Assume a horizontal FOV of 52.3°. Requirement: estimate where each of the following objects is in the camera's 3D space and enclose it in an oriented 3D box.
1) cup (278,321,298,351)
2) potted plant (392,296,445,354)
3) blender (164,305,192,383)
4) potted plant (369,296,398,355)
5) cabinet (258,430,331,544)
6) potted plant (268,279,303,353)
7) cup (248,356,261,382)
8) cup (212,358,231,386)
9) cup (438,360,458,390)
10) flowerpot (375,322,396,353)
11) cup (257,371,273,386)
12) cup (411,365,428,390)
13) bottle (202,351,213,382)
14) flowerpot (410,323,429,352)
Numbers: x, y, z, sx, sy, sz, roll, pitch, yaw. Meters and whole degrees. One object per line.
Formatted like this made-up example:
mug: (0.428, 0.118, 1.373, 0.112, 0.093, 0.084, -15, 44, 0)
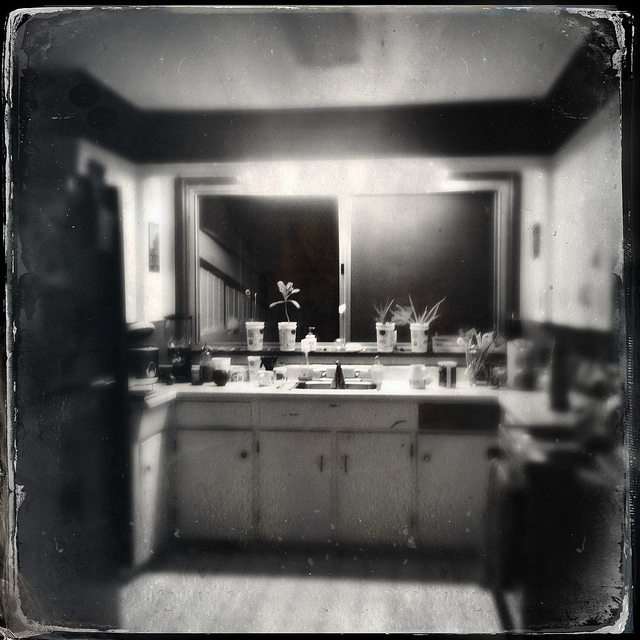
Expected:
cup: (-0.118, 0.058, 2.306, 0.070, 0.121, 0.078, 2, -2, -39)
potted plant: (0.342, 0.027, 2.199, 0.138, 0.187, 0.122, -9, -13, 34)
blender: (-0.448, 0.088, 2.130, 0.063, 0.228, 0.088, -1, 0, 10)
potted plant: (0.221, 0.011, 2.251, 0.081, 0.198, 0.072, 0, 10, 38)
cabinet: (-0.075, 0.514, 2.091, 0.245, 0.498, 0.250, 0, -9, -4)
potted plant: (-0.115, -0.011, 2.234, 0.110, 0.249, 0.083, 0, 0, 0)
cup: (-0.224, 0.161, 2.154, 0.049, 0.106, 0.057, 1, 1, -37)
cup: (-0.320, 0.169, 2.118, 0.056, 0.092, 0.068, 0, -9, 2)
cup: (0.405, 0.175, 2.067, 0.057, 0.121, 0.070, 1, 4, 2)
flowerpot: (0.223, 0.062, 2.232, 0.072, 0.130, 0.075, 3, 8, 25)
cup: (-0.180, 0.192, 2.156, 0.049, 0.048, 0.042, 1, 0, -15)
cup: (0.316, 0.184, 2.075, 0.047, 0.090, 0.058, 0, -2, 4)
bottle: (-0.372, 0.155, 2.141, 0.032, 0.095, 0.036, 0, 0, -30)
flowerpot: (0.334, 0.059, 2.175, 0.066, 0.098, 0.040, 1, 1, 30)
